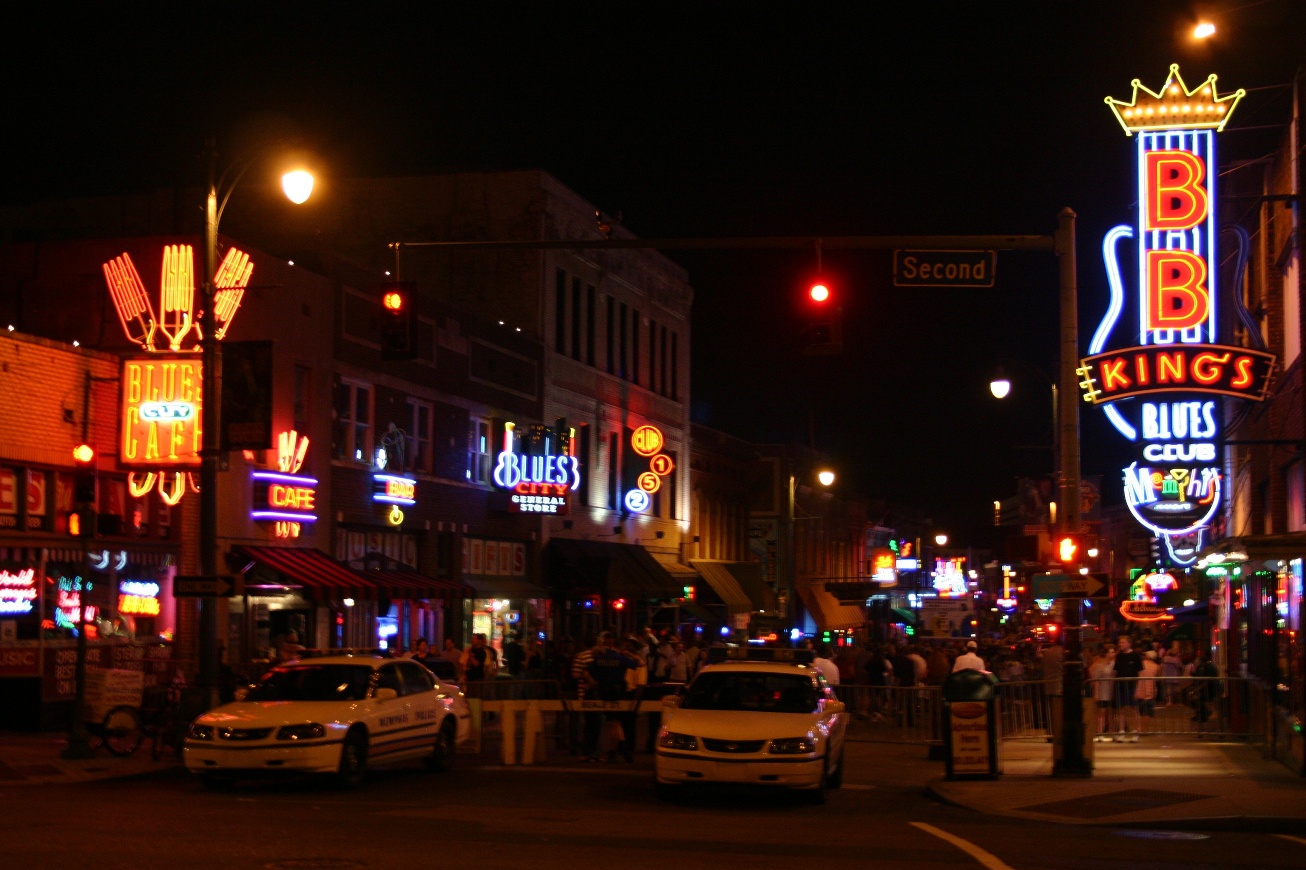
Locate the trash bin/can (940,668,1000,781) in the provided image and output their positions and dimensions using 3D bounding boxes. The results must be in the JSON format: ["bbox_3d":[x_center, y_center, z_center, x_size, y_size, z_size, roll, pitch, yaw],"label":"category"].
[{"bbox_3d":[5.876,5.305,32.166,0.945,2.010,0.599,0,-12,8],"label":"trash bin/can"}]

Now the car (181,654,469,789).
[{"bbox_3d":[-5.795,5.082,31.465,2.059,2.393,4.746,-7,-15,34],"label":"car"}]

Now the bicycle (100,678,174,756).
[{"bbox_3d":[-10.337,5.654,34.763,1.648,1.177,1.346,-1,-6,-1],"label":"bicycle"}]
